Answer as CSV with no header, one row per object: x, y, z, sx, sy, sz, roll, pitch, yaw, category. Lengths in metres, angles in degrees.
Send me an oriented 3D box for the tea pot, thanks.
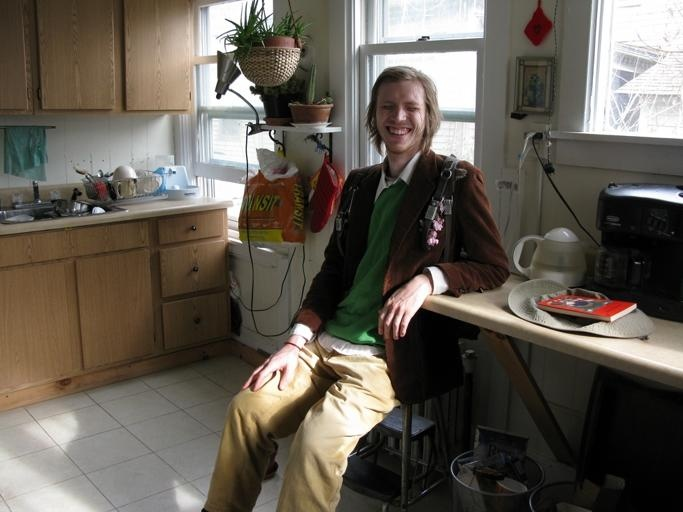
0.773,-0.004,1.950,0.243,0.237,0.193,-1,13,18,tea pot

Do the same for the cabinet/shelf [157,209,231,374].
-1.174,0.088,3.915,0.493,1.072,0.657,-7,21,-24,cabinet/shelf

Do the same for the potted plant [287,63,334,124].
-0.174,-0.897,2.869,0.221,0.312,0.220,-12,20,-42,potted plant

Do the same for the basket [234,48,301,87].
-0.356,-0.944,2.568,0.300,0.192,0.309,13,25,31,basket

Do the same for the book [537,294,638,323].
0.759,0.155,1.612,0.128,0.020,0.132,-15,17,-43,book

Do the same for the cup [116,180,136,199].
-1.519,-0.472,3.655,0.103,0.123,0.131,-3,-2,-28,cup

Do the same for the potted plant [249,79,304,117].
-0.358,-0.903,3.012,0.217,0.151,0.230,-2,14,-7,potted plant

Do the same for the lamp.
-0.613,-0.949,3.066,0.280,0.498,0.163,3,-12,-27,lamp

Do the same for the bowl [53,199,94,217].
-1.754,-0.313,3.398,0.160,0.088,0.234,0,8,-17,bowl

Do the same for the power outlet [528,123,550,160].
0.819,-0.474,2.118,0.027,0.140,0.083,-12,18,-39,power outlet
